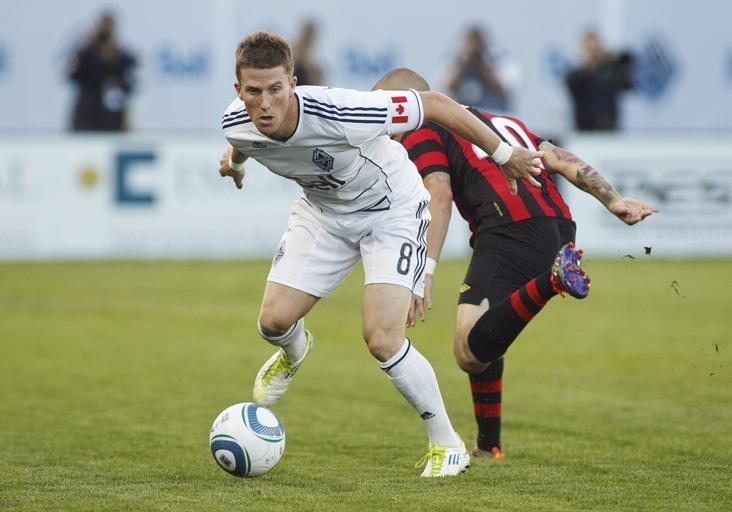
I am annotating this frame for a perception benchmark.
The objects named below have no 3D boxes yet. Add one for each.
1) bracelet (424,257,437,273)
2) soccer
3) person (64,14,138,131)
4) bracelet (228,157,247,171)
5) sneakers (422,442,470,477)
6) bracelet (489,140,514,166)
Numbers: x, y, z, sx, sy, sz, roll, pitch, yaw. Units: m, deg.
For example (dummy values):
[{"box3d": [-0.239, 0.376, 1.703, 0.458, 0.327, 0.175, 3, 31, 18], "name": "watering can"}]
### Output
[{"box3d": [0.520, 0.066, 9.035, 0.116, 0.129, 0.116, 2, 3, -25], "name": "bracelet"}, {"box3d": [-0.996, 1.469, 8.608, 0.535, 0.546, 0.548, 7, 34, -17], "name": "soccer"}, {"box3d": [-3.590, -2.531, 14.590, 0.946, 1.438, 0.518, -6, 14, -24], "name": "person"}, {"box3d": [-1.116, -0.803, 9.193, 0.108, 0.107, 0.084, 41, 2, 7], "name": "bracelet"}, {"box3d": [0.615, 1.636, 8.605, 0.184, 0.195, 0.427, -20, 11, 41], "name": "sneakers"}, {"box3d": [1.068, -0.819, 8.535, 0.167, 0.175, 0.167, -5, -2, 13], "name": "bracelet"}]
